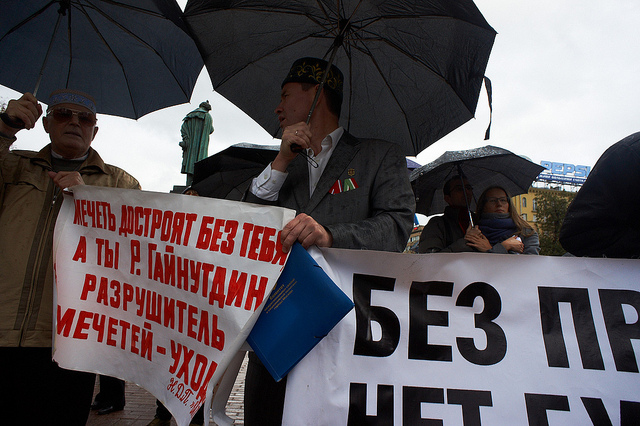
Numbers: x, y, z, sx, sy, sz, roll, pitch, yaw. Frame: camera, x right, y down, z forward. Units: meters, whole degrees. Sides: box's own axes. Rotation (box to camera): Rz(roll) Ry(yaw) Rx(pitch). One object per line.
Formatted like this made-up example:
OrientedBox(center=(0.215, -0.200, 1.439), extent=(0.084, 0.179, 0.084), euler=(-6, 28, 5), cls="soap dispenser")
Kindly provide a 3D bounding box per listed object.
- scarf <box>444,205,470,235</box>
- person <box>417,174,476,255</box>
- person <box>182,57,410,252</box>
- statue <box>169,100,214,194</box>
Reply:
OrientedBox(center=(1.603, 0.116, 5.694), extent=(0.216, 0.304, 0.326), euler=(-4, -59, 3), cls="scarf")
OrientedBox(center=(1.505, -0.015, 5.597), extent=(0.671, 0.671, 0.747), euler=(-16, -20, 11), cls="person")
OrientedBox(center=(0.042, -0.431, 3.302), extent=(1.111, 1.515, 0.406), euler=(-2, -21, 11), cls="person")
OrientedBox(center=(-3.136, -1.674, 12.047), extent=(0.734, 2.335, 0.626), euler=(9, -8, -19), cls="statue")
